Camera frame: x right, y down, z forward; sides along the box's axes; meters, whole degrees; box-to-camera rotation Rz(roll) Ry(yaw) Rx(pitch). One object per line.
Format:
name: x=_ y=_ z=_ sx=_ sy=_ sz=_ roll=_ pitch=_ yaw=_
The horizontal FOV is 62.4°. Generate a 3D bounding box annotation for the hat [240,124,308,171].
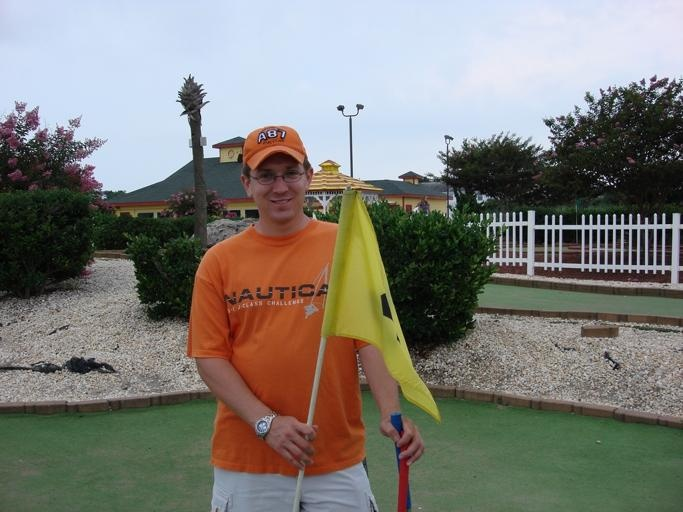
hat: x=-0.370 y=-0.604 z=3.126 sx=0.353 sy=0.242 sz=0.475 roll=-7 pitch=5 yaw=-16
